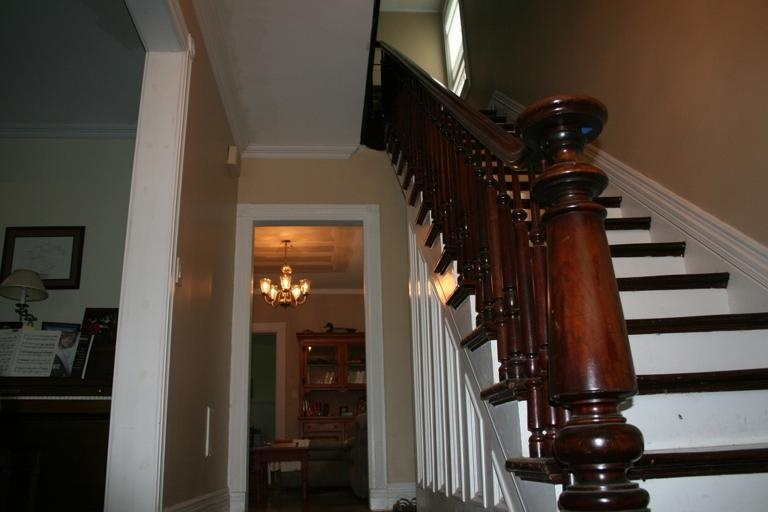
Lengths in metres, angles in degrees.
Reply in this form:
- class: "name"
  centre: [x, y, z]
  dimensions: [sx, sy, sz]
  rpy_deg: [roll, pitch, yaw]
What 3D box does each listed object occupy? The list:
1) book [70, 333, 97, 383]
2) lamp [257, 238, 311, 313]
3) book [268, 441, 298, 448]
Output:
- class: "book"
  centre: [-2.368, 0.779, 4.480]
  dimensions: [0.123, 0.355, 0.162]
  rpy_deg: [9, -22, -27]
- class: "lamp"
  centre: [-1.425, 0.231, 8.353]
  dimensions: [0.662, 0.964, 0.686]
  rpy_deg: [1, 0, 12]
- class: "book"
  centre: [-1.072, 2.034, 6.145]
  dimensions: [0.172, 0.044, 0.178]
  rpy_deg: [0, -3, -4]
